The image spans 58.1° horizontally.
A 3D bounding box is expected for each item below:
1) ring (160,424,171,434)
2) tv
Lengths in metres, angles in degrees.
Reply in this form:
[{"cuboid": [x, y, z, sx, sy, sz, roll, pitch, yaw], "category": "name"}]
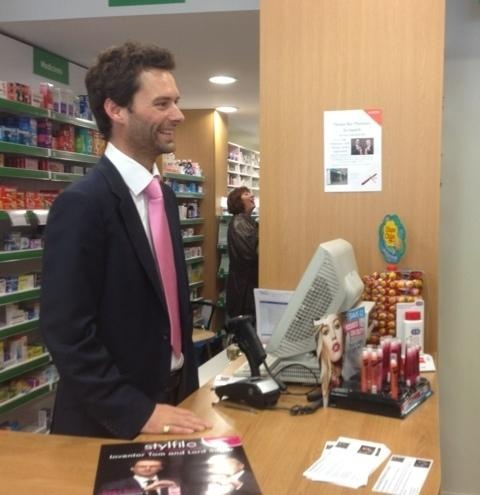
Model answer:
[{"cuboid": [-0.182, 0.461, 1.057, 0.013, 0.028, 0.025, 5, 10, 5], "category": "ring"}, {"cuboid": [0.232, 0.255, 1.627, 0.361, 0.512, 0.448, 11, -5, 14], "category": "tv"}]
